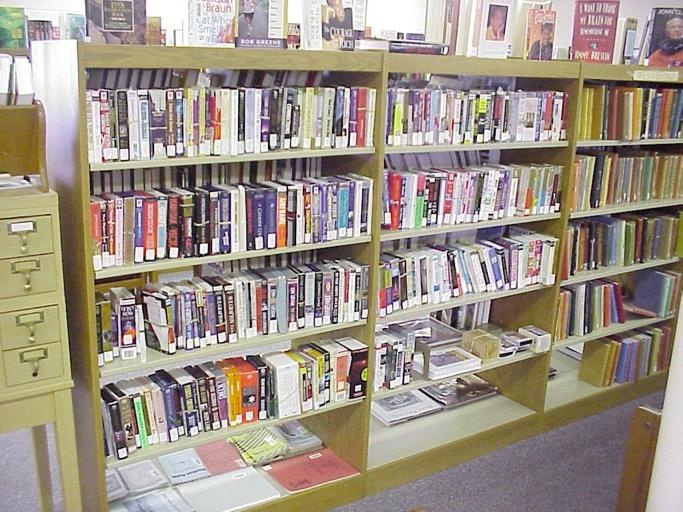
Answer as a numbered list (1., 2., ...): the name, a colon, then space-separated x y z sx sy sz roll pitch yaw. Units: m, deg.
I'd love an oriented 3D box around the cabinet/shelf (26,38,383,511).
1. cabinet/shelf: -0.637 0.049 2.938 1.682 2.212 0.774 -11 18 -28
